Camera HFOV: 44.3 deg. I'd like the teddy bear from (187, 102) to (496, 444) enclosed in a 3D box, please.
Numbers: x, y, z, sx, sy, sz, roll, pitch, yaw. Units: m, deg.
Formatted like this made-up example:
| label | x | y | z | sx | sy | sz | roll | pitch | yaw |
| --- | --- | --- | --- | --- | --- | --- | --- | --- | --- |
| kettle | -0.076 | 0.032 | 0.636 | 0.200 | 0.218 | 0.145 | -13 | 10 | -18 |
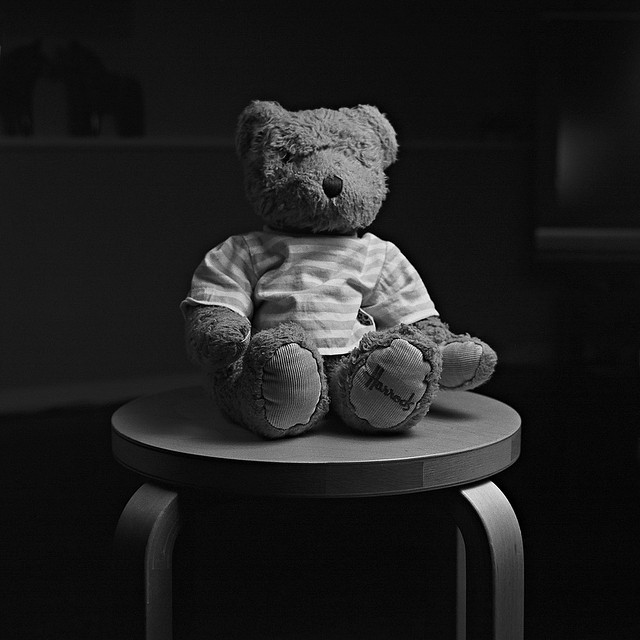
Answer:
| label | x | y | z | sx | sy | sz | roll | pitch | yaw |
| --- | --- | --- | --- | --- | --- | --- | --- | --- | --- |
| teddy bear | 0.022 | -0.060 | 0.882 | 0.342 | 0.366 | 0.257 | -2 | 14 | -9 |
